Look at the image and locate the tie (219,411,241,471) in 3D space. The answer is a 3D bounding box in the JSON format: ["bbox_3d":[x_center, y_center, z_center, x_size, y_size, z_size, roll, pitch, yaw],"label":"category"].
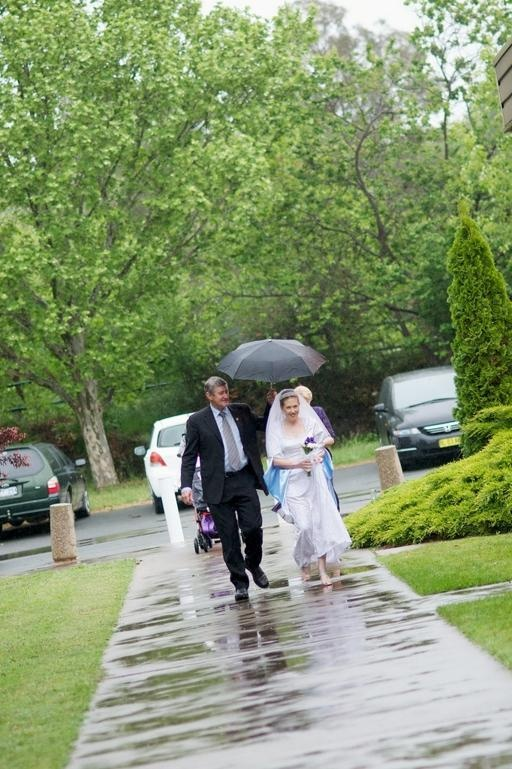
[{"bbox_3d":[-0.213,0.454,7.396,0.086,0.494,0.115,-19,-2,31],"label":"tie"}]

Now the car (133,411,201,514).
[{"bbox_3d":[-1.621,1.433,16.270,1.582,1.077,2.271,0,6,-4],"label":"car"}]

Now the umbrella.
[{"bbox_3d":[0.343,-0.257,13.757,1.619,0.444,1.471,1,15,12],"label":"umbrella"}]
